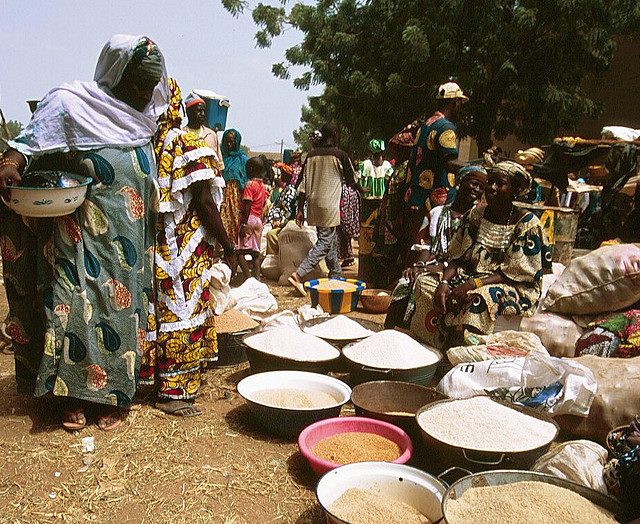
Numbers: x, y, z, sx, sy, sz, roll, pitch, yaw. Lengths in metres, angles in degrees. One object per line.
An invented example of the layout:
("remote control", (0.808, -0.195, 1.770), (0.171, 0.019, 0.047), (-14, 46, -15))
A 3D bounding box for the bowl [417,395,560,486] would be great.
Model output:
("bowl", (0.919, 1.031, 3.806), (0.774, 0.274, 0.789), (2, 9, 0))

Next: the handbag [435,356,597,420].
("handbag", (1.255, 0.733, 4.059), (0.593, 0.223, 0.478), (0, 1, 1))

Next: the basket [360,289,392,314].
("basket", (0.600, 0.422, 7.114), (0.263, 0.167, 0.270), (0, -2, 4))

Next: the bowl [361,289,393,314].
("bowl", (0.595, 0.424, 7.117), (0.265, 0.169, 0.271), (1, -2, 0))

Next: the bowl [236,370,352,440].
("bowl", (-0.186, 0.942, 4.301), (0.743, 0.278, 0.712), (4, 7, -1))

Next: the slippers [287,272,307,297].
("slippers", (-0.275, 0.246, 7.828), (0.151, 0.387, 0.127), (-20, 27, 14))

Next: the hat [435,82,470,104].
("hat", (1.277, -1.577, 6.265), (0.288, 0.183, 0.203), (-7, 36, -11))
